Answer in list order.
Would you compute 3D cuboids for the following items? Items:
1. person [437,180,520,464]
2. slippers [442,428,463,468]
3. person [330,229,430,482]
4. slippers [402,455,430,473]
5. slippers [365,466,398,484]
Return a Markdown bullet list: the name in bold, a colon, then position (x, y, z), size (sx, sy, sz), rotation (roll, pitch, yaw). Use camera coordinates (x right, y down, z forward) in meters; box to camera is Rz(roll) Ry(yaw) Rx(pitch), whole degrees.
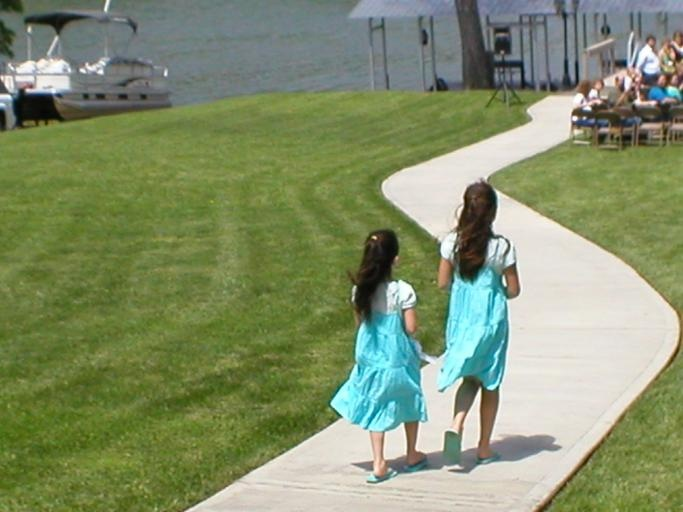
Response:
- **person**: position (2.021, 1.034, 22.271), size (1.383, 4.195, 0.737), rotation (-9, 11, -21)
- **slippers**: position (1.654, 2.891, 22.048), size (0.241, 0.502, 0.171), rotation (3, 6, 11)
- **person**: position (0.610, 1.531, 22.154), size (1.192, 3.734, 0.749), rotation (-5, 11, -2)
- **slippers**: position (1.141, 3.197, 22.312), size (0.439, 0.204, 0.169), rotation (-21, -12, 24)
- **slippers**: position (0.608, 3.366, 22.151), size (0.208, 0.113, 0.382), rotation (5, 16, 40)
